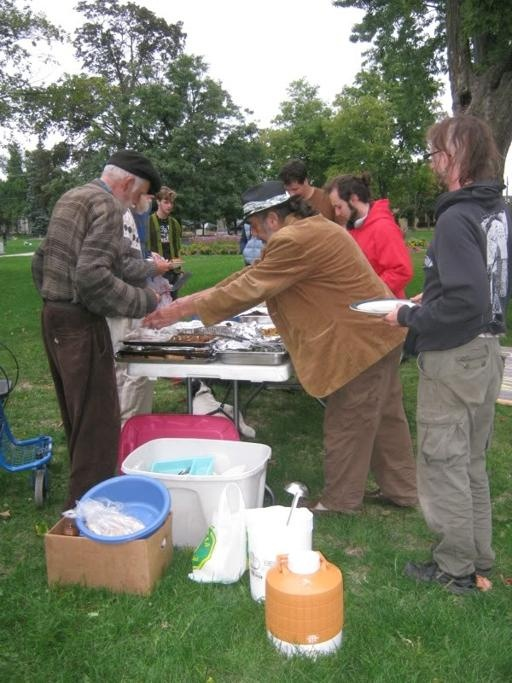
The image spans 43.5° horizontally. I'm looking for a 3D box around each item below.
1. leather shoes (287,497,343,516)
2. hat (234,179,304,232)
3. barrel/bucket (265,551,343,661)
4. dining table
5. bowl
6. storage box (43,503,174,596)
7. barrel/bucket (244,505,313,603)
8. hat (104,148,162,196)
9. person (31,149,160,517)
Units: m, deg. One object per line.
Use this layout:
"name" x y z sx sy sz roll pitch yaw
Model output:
"leather shoes" 0.309 0.837 3.333 0.355 0.086 0.125 -6 -12 32
"hat" 0.053 -0.654 3.144 0.234 0.088 0.198 -14 17 40
"barrel/bucket" 0.139 0.897 2.259 0.339 0.325 0.318 -1 -2 0
"dining table" -0.401 0.389 3.771 0.904 0.943 1.006 2 12 -6
"bowl" -0.511 0.704 2.760 0.297 0.105 0.294 12 22 -5
"storage box" -0.615 0.873 2.679 0.459 0.248 0.271 2 10 9
"barrel/bucket" 0.069 0.786 2.501 0.349 0.315 0.332 -1 1 0
"hat" -0.591 -0.818 3.143 0.224 0.076 0.173 17 8 -44
"person" -0.706 -0.076 3.100 0.611 1.661 0.496 -7 13 -33
